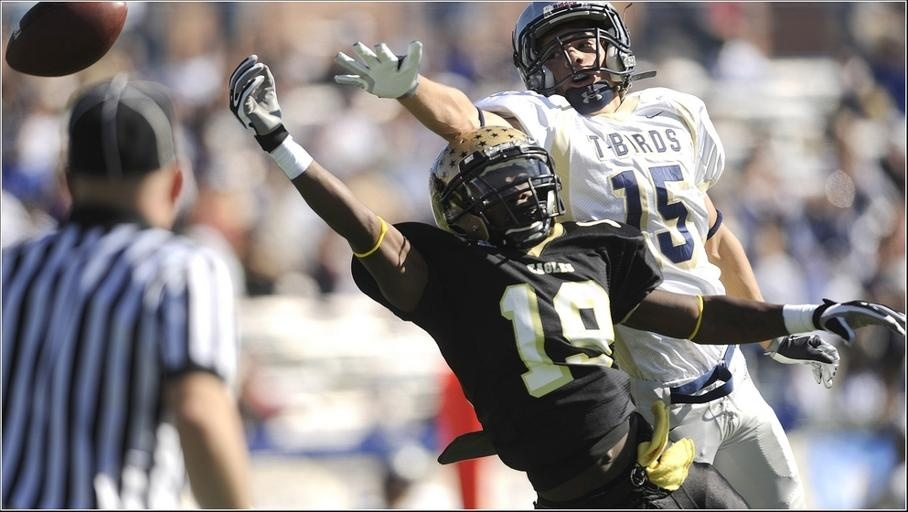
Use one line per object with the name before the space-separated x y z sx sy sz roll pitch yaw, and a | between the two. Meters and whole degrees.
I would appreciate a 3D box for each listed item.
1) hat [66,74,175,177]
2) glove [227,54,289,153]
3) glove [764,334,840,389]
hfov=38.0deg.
hat | -2.353 -0.866 9.268 0.736 0.573 0.718 -2 25 -10
glove | -1.381 -1.070 9.316 0.419 0.686 0.257 1 1 -9
glove | 2.793 0.769 10.283 0.608 0.286 0.338 22 -6 13
